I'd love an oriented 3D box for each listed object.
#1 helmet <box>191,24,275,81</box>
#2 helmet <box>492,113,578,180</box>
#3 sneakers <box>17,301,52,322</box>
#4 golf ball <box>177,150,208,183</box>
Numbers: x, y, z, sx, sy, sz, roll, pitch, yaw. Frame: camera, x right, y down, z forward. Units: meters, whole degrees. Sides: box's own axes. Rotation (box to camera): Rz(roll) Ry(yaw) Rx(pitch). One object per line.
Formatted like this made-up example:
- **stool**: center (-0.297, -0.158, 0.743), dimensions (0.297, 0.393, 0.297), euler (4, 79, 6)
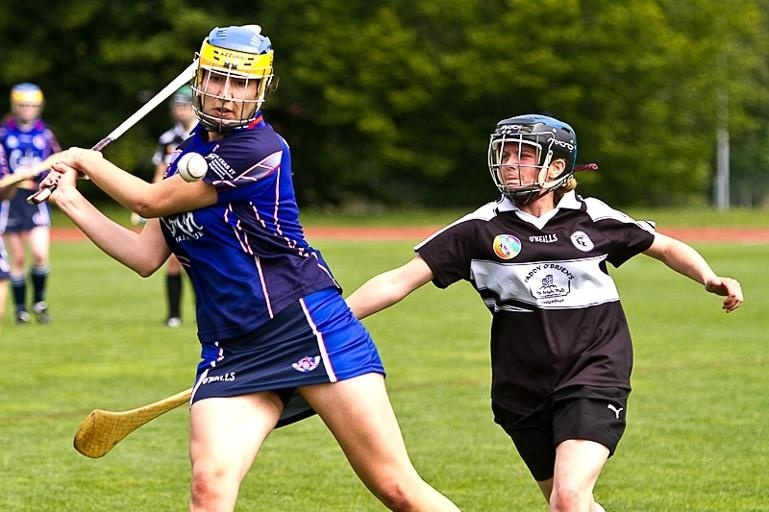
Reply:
- **helmet**: center (-0.864, -1.227, 7.151), dimensions (0.366, 0.280, 0.399), euler (9, 15, 3)
- **helmet**: center (0.918, -0.702, 7.513), dimensions (0.529, 0.321, 0.424), euler (14, -22, -30)
- **sneakers**: center (-3.928, 0.650, 13.376), dimensions (0.512, 0.184, 0.155), euler (0, 0, 10)
- **golf ball**: center (-1.132, -0.516, 6.821), dimensions (0.155, 0.160, 0.169), euler (6, 15, -1)
